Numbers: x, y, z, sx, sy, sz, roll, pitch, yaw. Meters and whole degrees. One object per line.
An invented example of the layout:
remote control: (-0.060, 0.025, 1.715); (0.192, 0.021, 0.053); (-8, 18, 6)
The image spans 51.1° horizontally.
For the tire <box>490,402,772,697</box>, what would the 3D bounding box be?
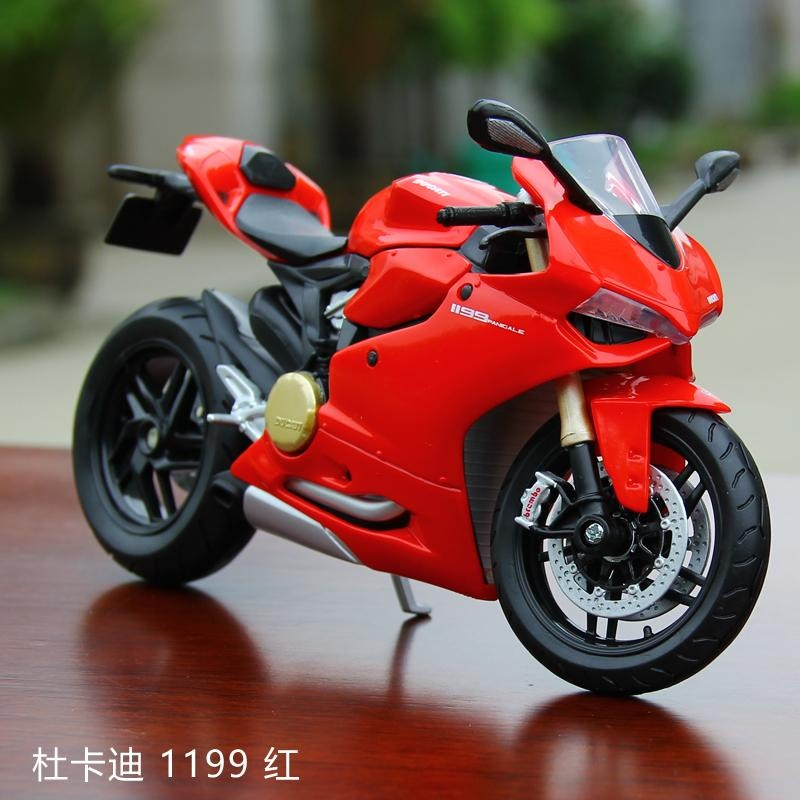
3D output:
tire: (0.331, 0.223, 1.251); (0.557, 0.150, 0.503); (-1, 86, 32)

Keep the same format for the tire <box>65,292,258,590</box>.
tire: (-0.393, 0.113, 2.040); (0.599, 0.481, 0.669); (19, 118, 39)

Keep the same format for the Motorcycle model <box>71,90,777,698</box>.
Motorcycle model: (-0.046, -0.066, 1.921); (1.930, 0.774, 0.991); (7, 93, 37)
